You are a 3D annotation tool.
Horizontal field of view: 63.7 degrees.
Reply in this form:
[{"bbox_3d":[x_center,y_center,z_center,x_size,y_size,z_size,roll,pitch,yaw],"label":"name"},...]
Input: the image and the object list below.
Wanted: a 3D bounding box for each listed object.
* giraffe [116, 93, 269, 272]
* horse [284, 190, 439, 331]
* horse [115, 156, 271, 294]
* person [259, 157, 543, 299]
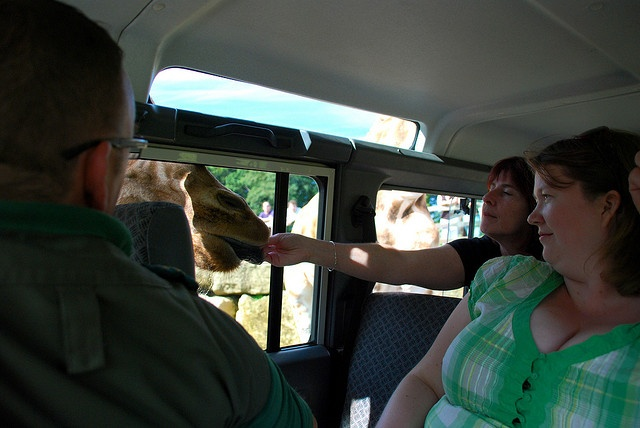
[{"bbox_3d":[-0.738,-0.053,2.972,1.062,0.599,0.346,21,13,12],"label":"giraffe"},{"bbox_3d":[0.415,0.352,5.176,0.594,1.591,1.160,-1,-19,33],"label":"horse"},{"bbox_3d":[-0.814,0.003,2.864,1.090,0.644,0.351,14,-7,-26],"label":"horse"},{"bbox_3d":[0.561,0.075,3.327,1.756,0.959,0.688,0,5,2],"label":"person"}]
